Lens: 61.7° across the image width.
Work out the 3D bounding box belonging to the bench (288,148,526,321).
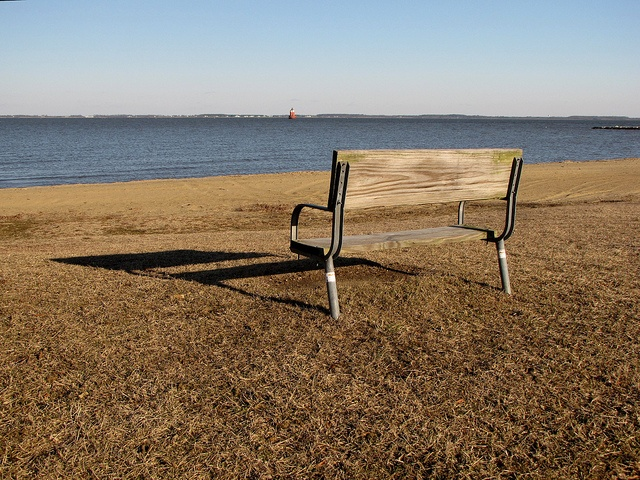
[{"bbox_3d":[0.848,-0.149,5.281,2.197,1.412,0.937,-6,10,-30],"label":"bench"}]
